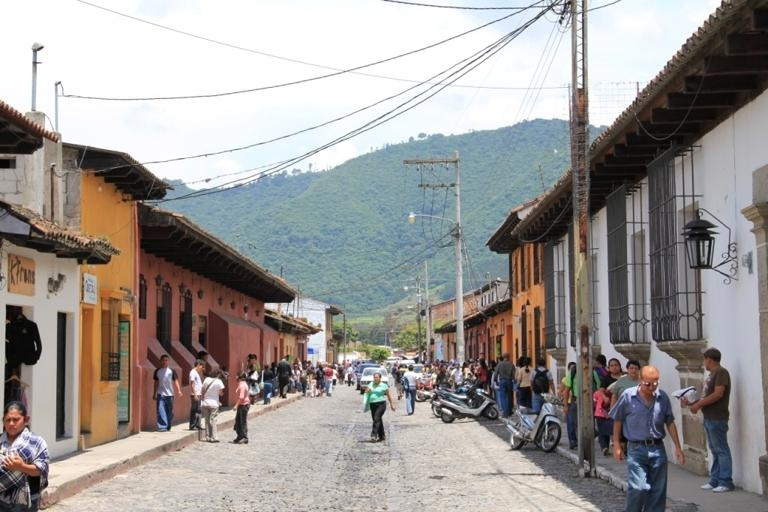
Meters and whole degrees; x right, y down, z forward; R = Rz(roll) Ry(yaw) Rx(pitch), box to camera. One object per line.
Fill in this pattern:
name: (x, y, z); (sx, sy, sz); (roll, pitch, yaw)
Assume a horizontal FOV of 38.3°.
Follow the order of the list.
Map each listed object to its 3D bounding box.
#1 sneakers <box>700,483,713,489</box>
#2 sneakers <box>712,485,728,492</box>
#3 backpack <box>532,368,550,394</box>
sneakers: (5.835, 4.166, 19.974); (0.195, 0.076, 0.070); (4, -8, -23)
sneakers: (6.027, 4.159, 19.792); (0.280, 0.108, 0.102); (4, -7, -5)
backpack: (3.974, 3.158, 27.901); (0.516, 0.674, 0.365); (2, -25, 1)
